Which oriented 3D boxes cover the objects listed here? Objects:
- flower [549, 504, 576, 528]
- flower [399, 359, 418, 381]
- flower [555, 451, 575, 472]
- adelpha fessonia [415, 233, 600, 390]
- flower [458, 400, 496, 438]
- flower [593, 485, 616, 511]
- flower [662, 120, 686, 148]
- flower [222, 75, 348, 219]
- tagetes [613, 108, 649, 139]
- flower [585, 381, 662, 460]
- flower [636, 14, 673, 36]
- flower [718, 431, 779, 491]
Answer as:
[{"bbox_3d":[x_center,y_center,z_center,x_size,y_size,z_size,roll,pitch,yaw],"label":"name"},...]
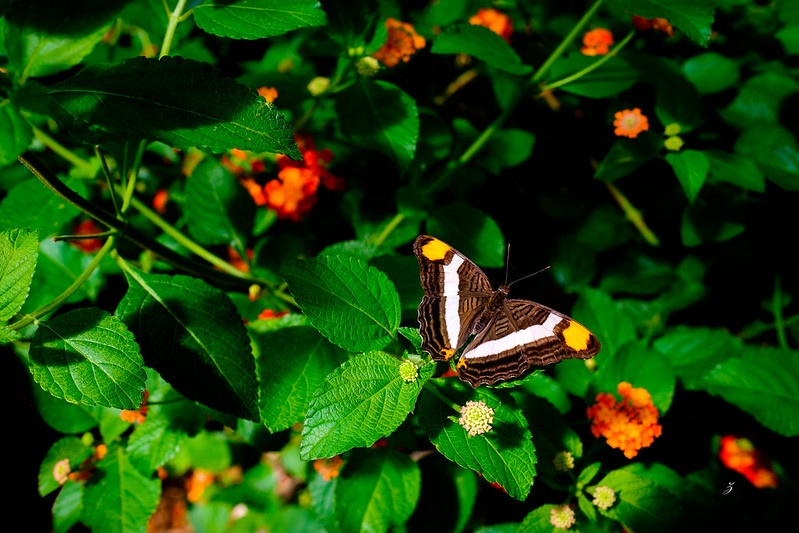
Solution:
[{"bbox_3d":[0.512,0.791,2.320,0.083,0.077,0.026,-9,0,-3],"label":"flower"},{"bbox_3d":[0.031,0.297,2.125,0.051,0.054,0.031,3,-14,-3],"label":"flower"},{"bbox_3d":[0.514,0.606,2.302,0.058,0.062,0.025,3,-2,3],"label":"flower"},{"bbox_3d":[0.309,0.103,2.299,0.526,0.479,0.290,-9,0,-2],"label":"adelpha fessonia"},{"bbox_3d":[0.222,0.433,2.083,0.090,0.092,0.031,-28,-11,-10],"label":"flower"},{"bbox_3d":[0.637,0.716,2.298,0.070,0.074,0.026,-4,5,2],"label":"flower"},{"bbox_3d":[0.856,-0.404,2.311,0.068,0.088,0.044,-9,0,5],"label":"flower"},{"bbox_3d":[-0.384,-0.302,2.423,0.424,0.439,0.134,21,1,-9],"label":"flower"},{"bbox_3d":[0.736,-0.456,2.358,0.107,0.100,0.079,-9,0,18],"label":"tagetes"},{"bbox_3d":[0.705,0.485,2.332,0.205,0.235,0.060,-9,0,3],"label":"flower"},{"bbox_3d":[0.806,-0.766,2.360,0.145,0.068,0.064,-9,0,-21],"label":"flower"},{"bbox_3d":[1.116,0.629,2.381,0.120,0.195,0.045,-53,4,-4],"label":"flower"}]
